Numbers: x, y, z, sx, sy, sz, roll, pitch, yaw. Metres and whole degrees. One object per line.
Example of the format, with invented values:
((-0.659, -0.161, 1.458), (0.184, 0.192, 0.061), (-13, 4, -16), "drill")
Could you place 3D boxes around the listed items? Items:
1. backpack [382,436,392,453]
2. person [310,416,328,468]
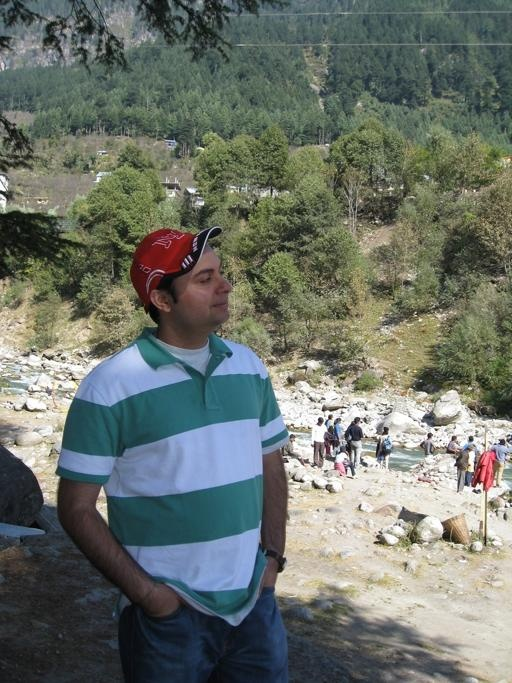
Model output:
((3.326, 2.668, 18.389), (0.239, 0.514, 0.439), (6, 1, 4), "backpack")
((1.520, 2.454, 17.502), (0.356, 1.204, 1.502), (6, 1, 6), "person")
